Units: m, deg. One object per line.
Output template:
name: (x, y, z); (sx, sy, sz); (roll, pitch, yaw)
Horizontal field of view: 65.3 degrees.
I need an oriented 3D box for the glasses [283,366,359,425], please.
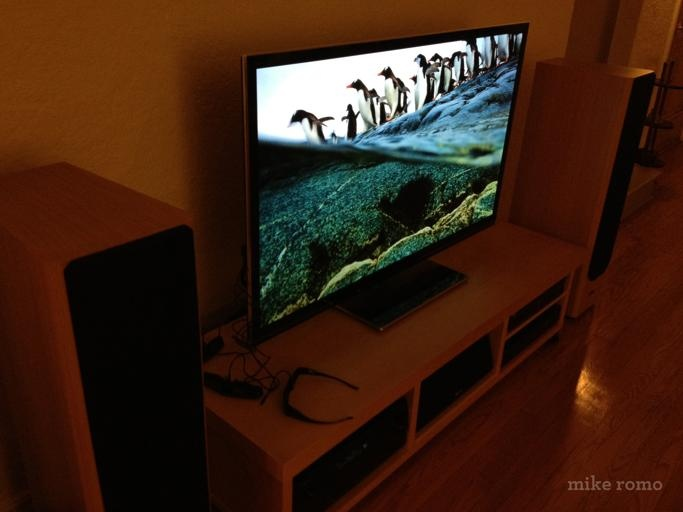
glasses: (-0.060, 0.426, 1.664); (0.212, 0.089, 0.231); (2, 30, 14)
